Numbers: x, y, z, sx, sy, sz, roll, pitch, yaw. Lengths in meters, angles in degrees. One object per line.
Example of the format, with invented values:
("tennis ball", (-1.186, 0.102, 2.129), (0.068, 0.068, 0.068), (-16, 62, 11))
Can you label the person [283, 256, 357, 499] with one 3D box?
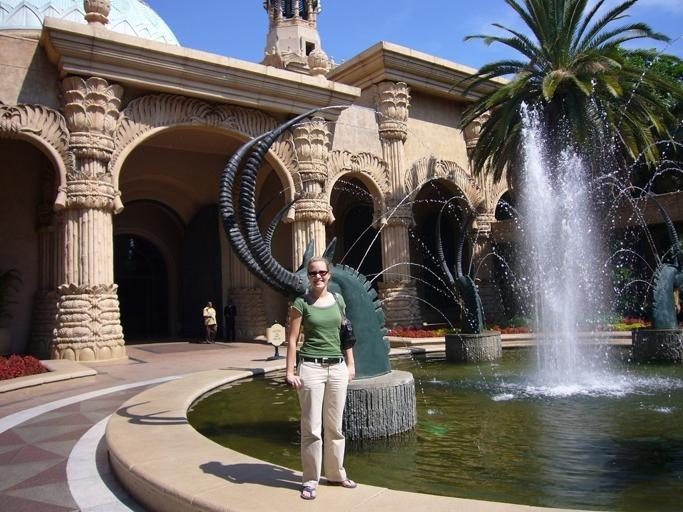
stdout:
("person", (-0.188, 1.062, 4.855), (0.649, 2.121, 0.350), (-1, -7, -12))

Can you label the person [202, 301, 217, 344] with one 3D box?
("person", (-4.796, 2.361, 19.127), (0.462, 1.504, 1.508), (-1, -7, -15))

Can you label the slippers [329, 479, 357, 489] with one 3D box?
("slippers", (0.008, 2.082, 4.828), (0.182, 0.046, 0.094), (-6, -8, 17))

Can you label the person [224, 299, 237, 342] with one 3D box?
("person", (-4.193, 2.375, 19.743), (0.483, 1.579, 0.732), (-1, -7, -14))
